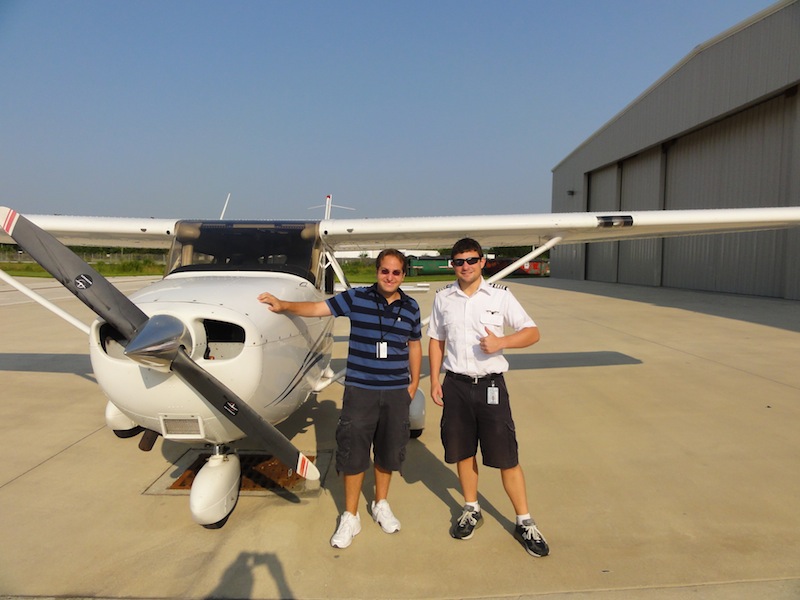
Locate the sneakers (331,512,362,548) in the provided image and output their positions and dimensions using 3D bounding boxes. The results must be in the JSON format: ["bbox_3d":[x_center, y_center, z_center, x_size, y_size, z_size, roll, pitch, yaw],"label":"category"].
[{"bbox_3d":[-0.348,1.482,3.716,0.102,0.108,0.279,2,-2,18],"label":"sneakers"}]

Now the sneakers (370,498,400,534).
[{"bbox_3d":[-0.101,1.451,3.856,0.113,0.127,0.275,-1,-4,-20],"label":"sneakers"}]

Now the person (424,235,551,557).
[{"bbox_3d":[0.575,0.576,3.818,0.821,1.944,0.689,1,10,8],"label":"person"}]

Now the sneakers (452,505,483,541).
[{"bbox_3d":[0.442,1.465,3.806,0.113,0.130,0.294,3,1,29],"label":"sneakers"}]

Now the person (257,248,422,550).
[{"bbox_3d":[-0.164,0.607,3.826,0.588,1.872,0.654,0,10,2],"label":"person"}]

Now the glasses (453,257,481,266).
[{"bbox_3d":[0.428,-0.254,3.814,0.193,0.068,0.081,3,10,19],"label":"glasses"}]

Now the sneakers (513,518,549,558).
[{"bbox_3d":[0.858,1.491,3.680,0.201,0.193,0.211,-2,10,-9],"label":"sneakers"}]
